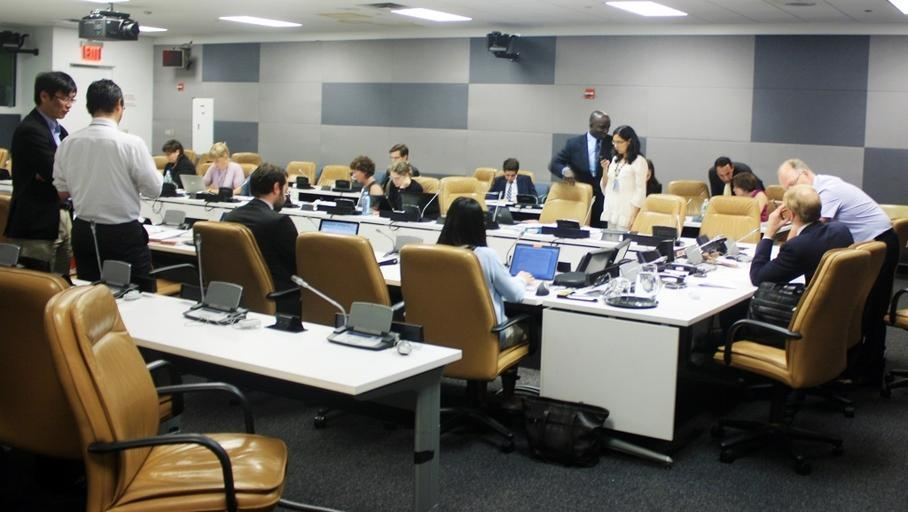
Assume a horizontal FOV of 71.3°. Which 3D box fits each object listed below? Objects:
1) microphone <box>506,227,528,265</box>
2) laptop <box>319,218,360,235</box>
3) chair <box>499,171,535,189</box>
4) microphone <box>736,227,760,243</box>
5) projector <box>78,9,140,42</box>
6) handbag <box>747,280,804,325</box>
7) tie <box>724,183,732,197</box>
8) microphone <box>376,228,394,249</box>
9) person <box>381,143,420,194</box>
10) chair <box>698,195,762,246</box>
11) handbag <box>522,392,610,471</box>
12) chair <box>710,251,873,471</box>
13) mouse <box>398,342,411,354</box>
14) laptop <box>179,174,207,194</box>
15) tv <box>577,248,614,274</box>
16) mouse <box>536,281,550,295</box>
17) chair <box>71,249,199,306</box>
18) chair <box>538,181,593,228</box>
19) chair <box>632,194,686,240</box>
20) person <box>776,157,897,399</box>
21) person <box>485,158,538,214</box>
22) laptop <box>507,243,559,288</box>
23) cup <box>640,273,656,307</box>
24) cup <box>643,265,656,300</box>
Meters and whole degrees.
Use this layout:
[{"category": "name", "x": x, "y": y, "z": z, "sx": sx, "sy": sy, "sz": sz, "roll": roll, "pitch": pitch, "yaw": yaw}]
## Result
[{"category": "microphone", "x": 0.571, "y": -0.078, "z": 5.878, "sx": 0.057, "sy": 0.363, "sz": 0.039, "roll": 26, "pitch": -2, "yaw": 41}, {"category": "laptop", "x": -1.106, "y": -0.278, "z": 6.098, "sx": 0.356, "sy": 0.027, "sz": 0.209, "roll": 4, "pitch": 47, "yaw": 0}, {"category": "chair", "x": 0.911, "y": -1.214, "z": 9.966, "sx": 0.423, "sy": 0.446, "sz": 0.428, "roll": 4, "pitch": 7, "yaw": 24}, {"category": "microphone", "x": 3.201, "y": -0.233, "z": 6.938, "sx": 0.321, "sy": 0.054, "sz": 0.050, "roll": -29, "pitch": 36, "yaw": 10}, {"category": "projector", "x": -5.299, "y": -3.522, "z": 9.748, "sx": 0.807, "sy": 0.410, "sz": 0.580, "roll": 6, "pitch": 8, "yaw": 31}, {"category": "handbag", "x": 2.408, "y": 0.309, "z": 4.739, "sx": 0.345, "sy": 0.326, "sz": 0.331, "roll": 12, "pitch": 23, "yaw": 42}, {"category": "tie", "x": 3.767, "y": -0.909, "z": 8.715, "sx": 0.105, "sy": 0.142, "sz": 0.506, "roll": 6, "pitch": 16, "yaw": 23}, {"category": "microphone", "x": -0.740, "y": -0.185, "z": 6.754, "sx": 0.055, "sy": 0.195, "sz": 0.194, "roll": -7, "pitch": 7, "yaw": -25}, {"category": "person", "x": -0.823, "y": -1.262, "z": 9.385, "sx": 0.558, "sy": 0.717, "sz": 0.420, "roll": 12, "pitch": 12, "yaw": 32}, {"category": "chair", "x": 3.158, "y": -0.448, "z": 7.237, "sx": 0.611, "sy": 0.848, "sz": 0.703, "roll": 4, "pitch": 6, "yaw": 31}, {"category": "handbag", "x": 0.799, "y": 1.181, "z": 4.504, "sx": 0.722, "sy": 0.476, "sz": 0.405, "roll": 2, "pitch": -5, "yaw": 23}, {"category": "chair", "x": 2.392, "y": 0.663, "z": 4.518, "sx": 1.222, "sy": 1.487, "sz": 0.763, "roll": -12, "pitch": 19, "yaw": -36}, {"category": "mouse", "x": -0.291, "y": 0.532, "z": 3.642, "sx": 0.070, "sy": 0.049, "sz": 0.071, "roll": 1, "pitch": 3, "yaw": 33}, {"category": "laptop", "x": -3.299, "y": -0.900, "z": 8.036, "sx": 0.336, "sy": 0.224, "sz": 0.245, "roll": 5, "pitch": 17, "yaw": 21}, {"category": "tv", "x": 1.112, "y": 0.037, "z": 5.056, "sx": 0.292, "sy": 0.197, "sz": 0.067, "roll": -1, "pitch": 26, "yaw": -42}, {"category": "mouse", "x": 0.654, "y": 0.242, "z": 4.696, "sx": 0.069, "sy": 0.078, "sz": 0.108, "roll": -1, "pitch": -7, "yaw": 19}, {"category": "chair", "x": -2.314, "y": 0.154, "z": 4.564, "sx": 0.331, "sy": 0.325, "sz": 0.309, "roll": 10, "pitch": 16, "yaw": 26}, {"category": "chair", "x": 1.337, "y": -0.577, "z": 7.376, "sx": 0.495, "sy": 0.693, "sz": 0.596, "roll": 5, "pitch": 5, "yaw": 31}, {"category": "chair", "x": 2.251, "y": -0.475, "z": 7.028, "sx": 0.478, "sy": 0.661, "sz": 0.578, "roll": 9, "pitch": -1, "yaw": 32}, {"category": "person", "x": 2.827, "y": 0.378, "z": 5.094, "sx": 0.781, "sy": 1.702, "sz": 0.715, "roll": -10, "pitch": 7, "yaw": 4}, {"category": "person", "x": 0.917, "y": -0.867, "z": 10.084, "sx": 0.695, "sy": 1.318, "sz": 0.413, "roll": 0, "pitch": 30, "yaw": 12}, {"category": "laptop", "x": 0.647, "y": 0.049, "z": 5.096, "sx": 0.377, "sy": 0.248, "sz": 0.293, "roll": 8, "pitch": 5, "yaw": 19}, {"category": "cup", "x": 1.426, "y": 0.249, "z": 4.682, "sx": 0.161, "sy": 0.222, "sz": 0.082, "roll": 3, "pitch": -3, "yaw": 24}, {"category": "cup", "x": 1.462, "y": 0.163, "z": 4.819, "sx": 0.110, "sy": 0.159, "sz": 0.358, "roll": 1, "pitch": 24, "yaw": 14}]
